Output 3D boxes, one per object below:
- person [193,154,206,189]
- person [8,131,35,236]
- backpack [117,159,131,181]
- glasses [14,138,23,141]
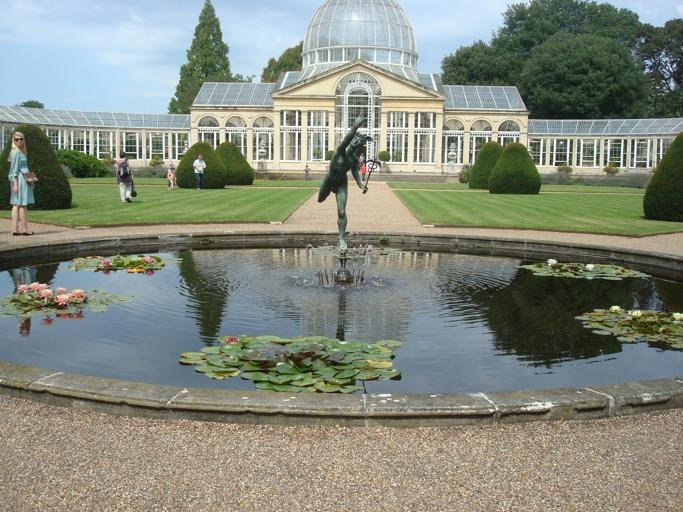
[{"bbox_3d":[-6.718,-3.955,30.462,0.573,1.600,1.033,-2,13,-12],"label":"person"},{"bbox_3d":[-6.804,-1.554,13.693,0.544,2.145,1.612,-6,14,-25],"label":"person"},{"bbox_3d":[-7.373,-2.865,21.883,0.398,0.689,0.605,-3,13,-16],"label":"backpack"},{"bbox_3d":[-6.650,-2.380,13.264,0.149,0.069,0.141,-5,12,-27],"label":"glasses"}]
